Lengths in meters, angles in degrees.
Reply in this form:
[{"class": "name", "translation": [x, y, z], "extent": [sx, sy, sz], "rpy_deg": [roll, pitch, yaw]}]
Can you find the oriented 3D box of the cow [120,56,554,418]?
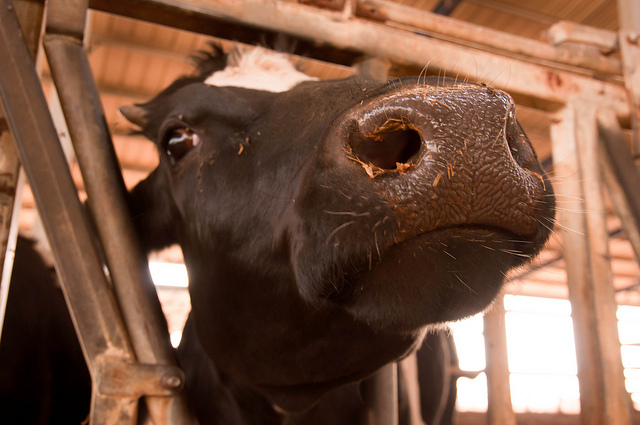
[{"class": "cow", "translation": [0.025, 0.096, 3.472], "extent": [1.909, 1.935, 0.856], "rpy_deg": [0, -5, 41]}]
